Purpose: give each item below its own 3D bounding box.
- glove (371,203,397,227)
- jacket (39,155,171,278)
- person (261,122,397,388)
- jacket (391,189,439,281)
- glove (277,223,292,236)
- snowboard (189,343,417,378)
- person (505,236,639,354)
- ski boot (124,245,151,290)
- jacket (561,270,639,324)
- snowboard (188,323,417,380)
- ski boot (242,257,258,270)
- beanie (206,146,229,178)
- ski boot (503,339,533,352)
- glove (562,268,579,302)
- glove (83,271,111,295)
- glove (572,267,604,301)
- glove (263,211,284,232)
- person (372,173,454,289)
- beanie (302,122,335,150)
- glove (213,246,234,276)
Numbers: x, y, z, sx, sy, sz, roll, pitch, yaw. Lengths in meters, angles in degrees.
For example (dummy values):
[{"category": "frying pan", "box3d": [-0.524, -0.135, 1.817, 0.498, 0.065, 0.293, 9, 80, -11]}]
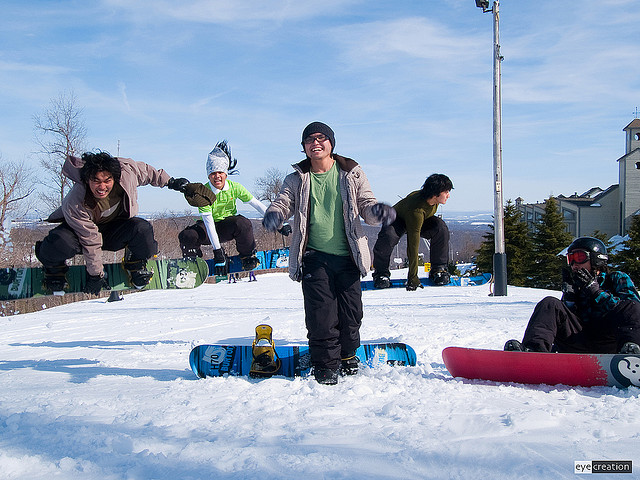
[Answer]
[{"category": "glove", "box3d": [0.586, -0.245, 6.055, 0.162, 0.085, 0.212, 35, -12, -32]}, {"category": "jacket", "box3d": [-2.396, -0.252, 7.395, 1.250, 1.285, 0.760, -2, 1, -13]}, {"category": "person", "box3d": [0.169, 0.060, 6.241, 1.127, 2.447, 1.378, -5, -5, 18]}, {"category": "jacket", "box3d": [1.225, -0.071, 8.318, 0.500, 0.808, 0.542, -2, 1, -7]}, {"category": "glove", "box3d": [-0.424, -0.146, 8.517, 0.144, 0.164, 0.181, 9, -11, -42]}, {"category": "snowboard", "box3d": [-0.202, 1.156, 6.586, 2.084, 0.285, 0.225, -2, 1, -6]}, {"category": "person", "box3d": [2.518, 0.534, 6.333, 0.961, 1.040, 1.334, -5, -14, 43]}, {"category": "ski boot", "box3d": [-2.175, 0.266, 8.107, 0.176, 0.479, 0.337, -18, -24, -37]}, {"category": "jacket", "box3d": [2.632, 0.517, 6.313, 0.649, 0.580, 0.441, -2, 1, 23]}, {"category": "snowboard", "box3d": [-0.118, 1.150, 6.921, 1.937, 0.477, 0.450, 0, -3, -7]}, {"category": "ski boot", "box3d": [-0.981, 0.312, 9.578, 0.150, 0.158, 0.179, -5, 18, -2]}, {"category": "beanie", "box3d": [-1.369, -1.054, 8.994, 0.217, 0.363, 0.524, -2, 0, 21]}, {"category": "ski boot", "box3d": [1.788, 0.954, 6.088, 0.299, 0.118, 0.098, -6, 1, -37]}, {"category": "glove", "box3d": [2.369, 0.423, 6.461, 0.116, 0.300, 0.227, -19, 20, 8]}, {"category": "glove", "box3d": [-2.595, 0.497, 7.838, 0.254, 0.303, 0.119, 8, -1, 7]}, {"category": "glove", "box3d": [2.478, 0.394, 6.279, 0.119, 0.300, 0.222, -31, 13, 46]}, {"category": "glove", "box3d": [-0.411, -0.180, 6.229, 0.137, 0.157, 0.271, -1, 0, 32]}, {"category": "person", "box3d": [1.174, -0.145, 8.517, 1.091, 1.374, 0.905, 0, 8, -12]}, {"category": "beanie", "box3d": [-0.001, -1.015, 6.240, 0.281, 0.183, 0.371, -2, 0, -3]}, {"category": "glove", "box3d": [-1.342, 0.279, 9.178, 0.355, 0.325, 0.874, 3, -7, -4]}]
